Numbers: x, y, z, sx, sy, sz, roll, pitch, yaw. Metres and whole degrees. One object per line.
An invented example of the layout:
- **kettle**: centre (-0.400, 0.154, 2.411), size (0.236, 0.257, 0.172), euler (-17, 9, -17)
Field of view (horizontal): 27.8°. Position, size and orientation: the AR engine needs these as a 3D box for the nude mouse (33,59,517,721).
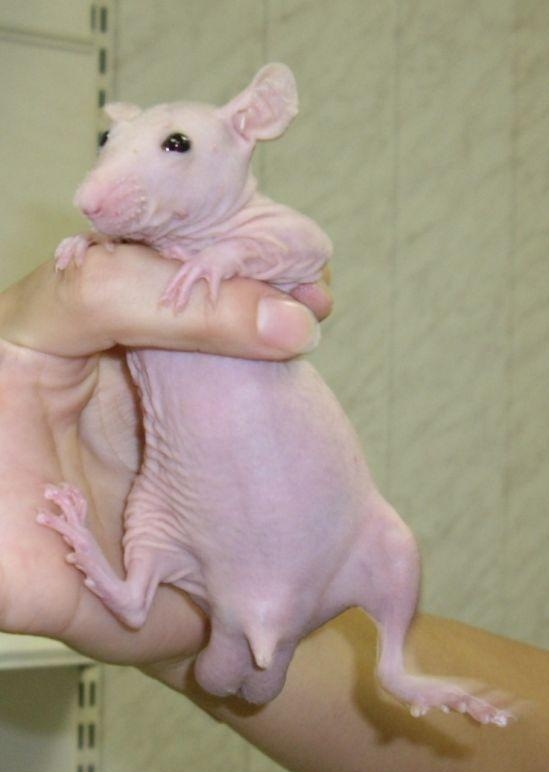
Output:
- **nude mouse**: centre (0.038, 0.007, 1.444), size (0.514, 0.342, 0.720), euler (-7, 94, 21)
